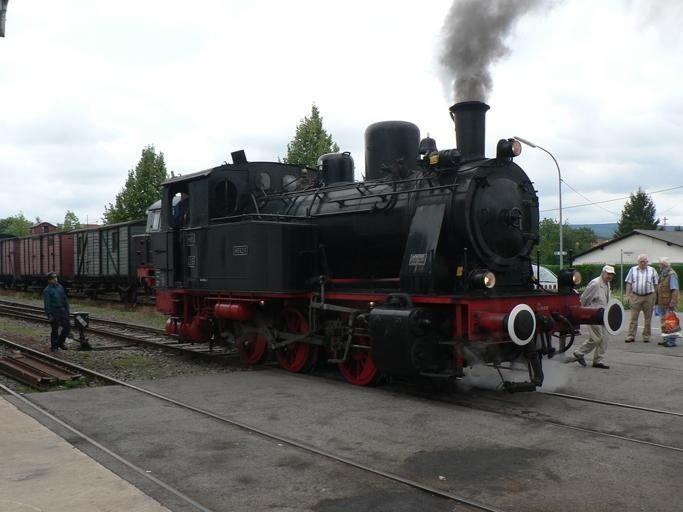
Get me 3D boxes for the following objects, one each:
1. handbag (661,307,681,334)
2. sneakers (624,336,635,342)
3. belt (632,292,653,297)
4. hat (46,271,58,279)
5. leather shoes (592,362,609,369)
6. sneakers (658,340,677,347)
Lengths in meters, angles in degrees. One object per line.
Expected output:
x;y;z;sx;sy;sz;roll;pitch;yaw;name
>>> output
7.781;1.514;12.058;0.361;0.572;0.543;-1;-1;32;handbag
7.169;2.063;12.700;0.327;0.126;0.108;13;-16;-34;sneakers
7.406;0.906;12.494;0.409;0.116;0.122;-1;-1;22;belt
-8.709;0.525;15.322;0.455;0.224;0.614;2;-5;-34;hat
4.752;1.999;9.375;0.306;0.122;0.104;0;-2;2;leather shoes
7.656;2.039;11.955;0.388;0.166;0.132;-6;-5;22;sneakers
